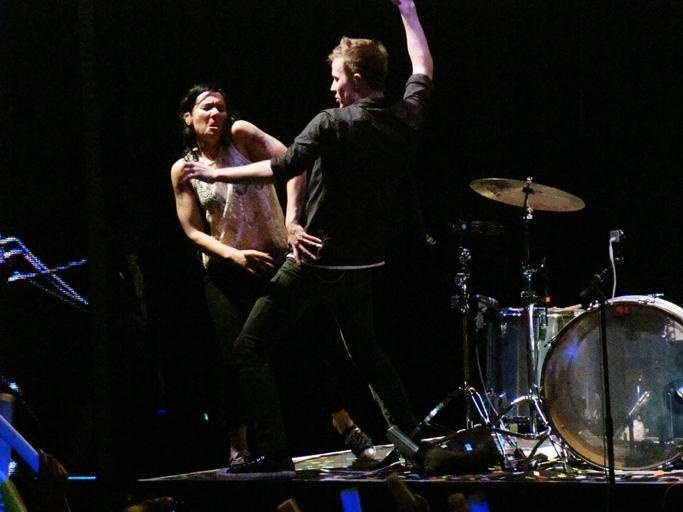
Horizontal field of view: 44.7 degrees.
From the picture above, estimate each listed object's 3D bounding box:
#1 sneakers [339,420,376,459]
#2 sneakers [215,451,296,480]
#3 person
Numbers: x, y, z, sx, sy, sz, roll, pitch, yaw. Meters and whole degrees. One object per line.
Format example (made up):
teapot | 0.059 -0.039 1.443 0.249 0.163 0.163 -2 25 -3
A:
sneakers | 0.100 1.150 5.123 0.278 0.112 0.120 39 -4 40
sneakers | -0.515 1.168 4.689 0.491 0.177 0.160 1 -13 9
person | -0.064 -0.148 4.644 1.370 2.593 0.446 -6 -7 1
